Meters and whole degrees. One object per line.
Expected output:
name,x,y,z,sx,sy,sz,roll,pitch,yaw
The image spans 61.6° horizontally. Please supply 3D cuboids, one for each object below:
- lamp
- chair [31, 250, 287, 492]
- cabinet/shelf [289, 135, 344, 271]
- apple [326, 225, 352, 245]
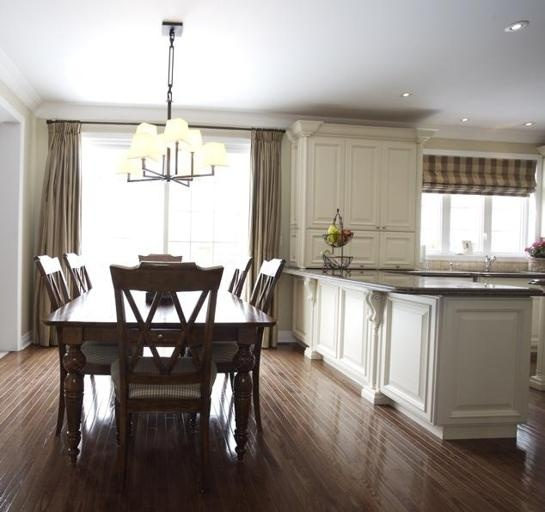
lamp,-0.704,-1.094,3.225,0.729,1.182,0.817,0,-2,-6
chair,-0.565,0.431,2.400,0.813,0.789,1.303,0,3,-7
cabinet/shelf,0.409,-0.605,5.063,0.686,1.446,0.426,4,4,44
apple,0.613,-0.177,4.208,0.200,0.138,0.214,1,-6,-8
